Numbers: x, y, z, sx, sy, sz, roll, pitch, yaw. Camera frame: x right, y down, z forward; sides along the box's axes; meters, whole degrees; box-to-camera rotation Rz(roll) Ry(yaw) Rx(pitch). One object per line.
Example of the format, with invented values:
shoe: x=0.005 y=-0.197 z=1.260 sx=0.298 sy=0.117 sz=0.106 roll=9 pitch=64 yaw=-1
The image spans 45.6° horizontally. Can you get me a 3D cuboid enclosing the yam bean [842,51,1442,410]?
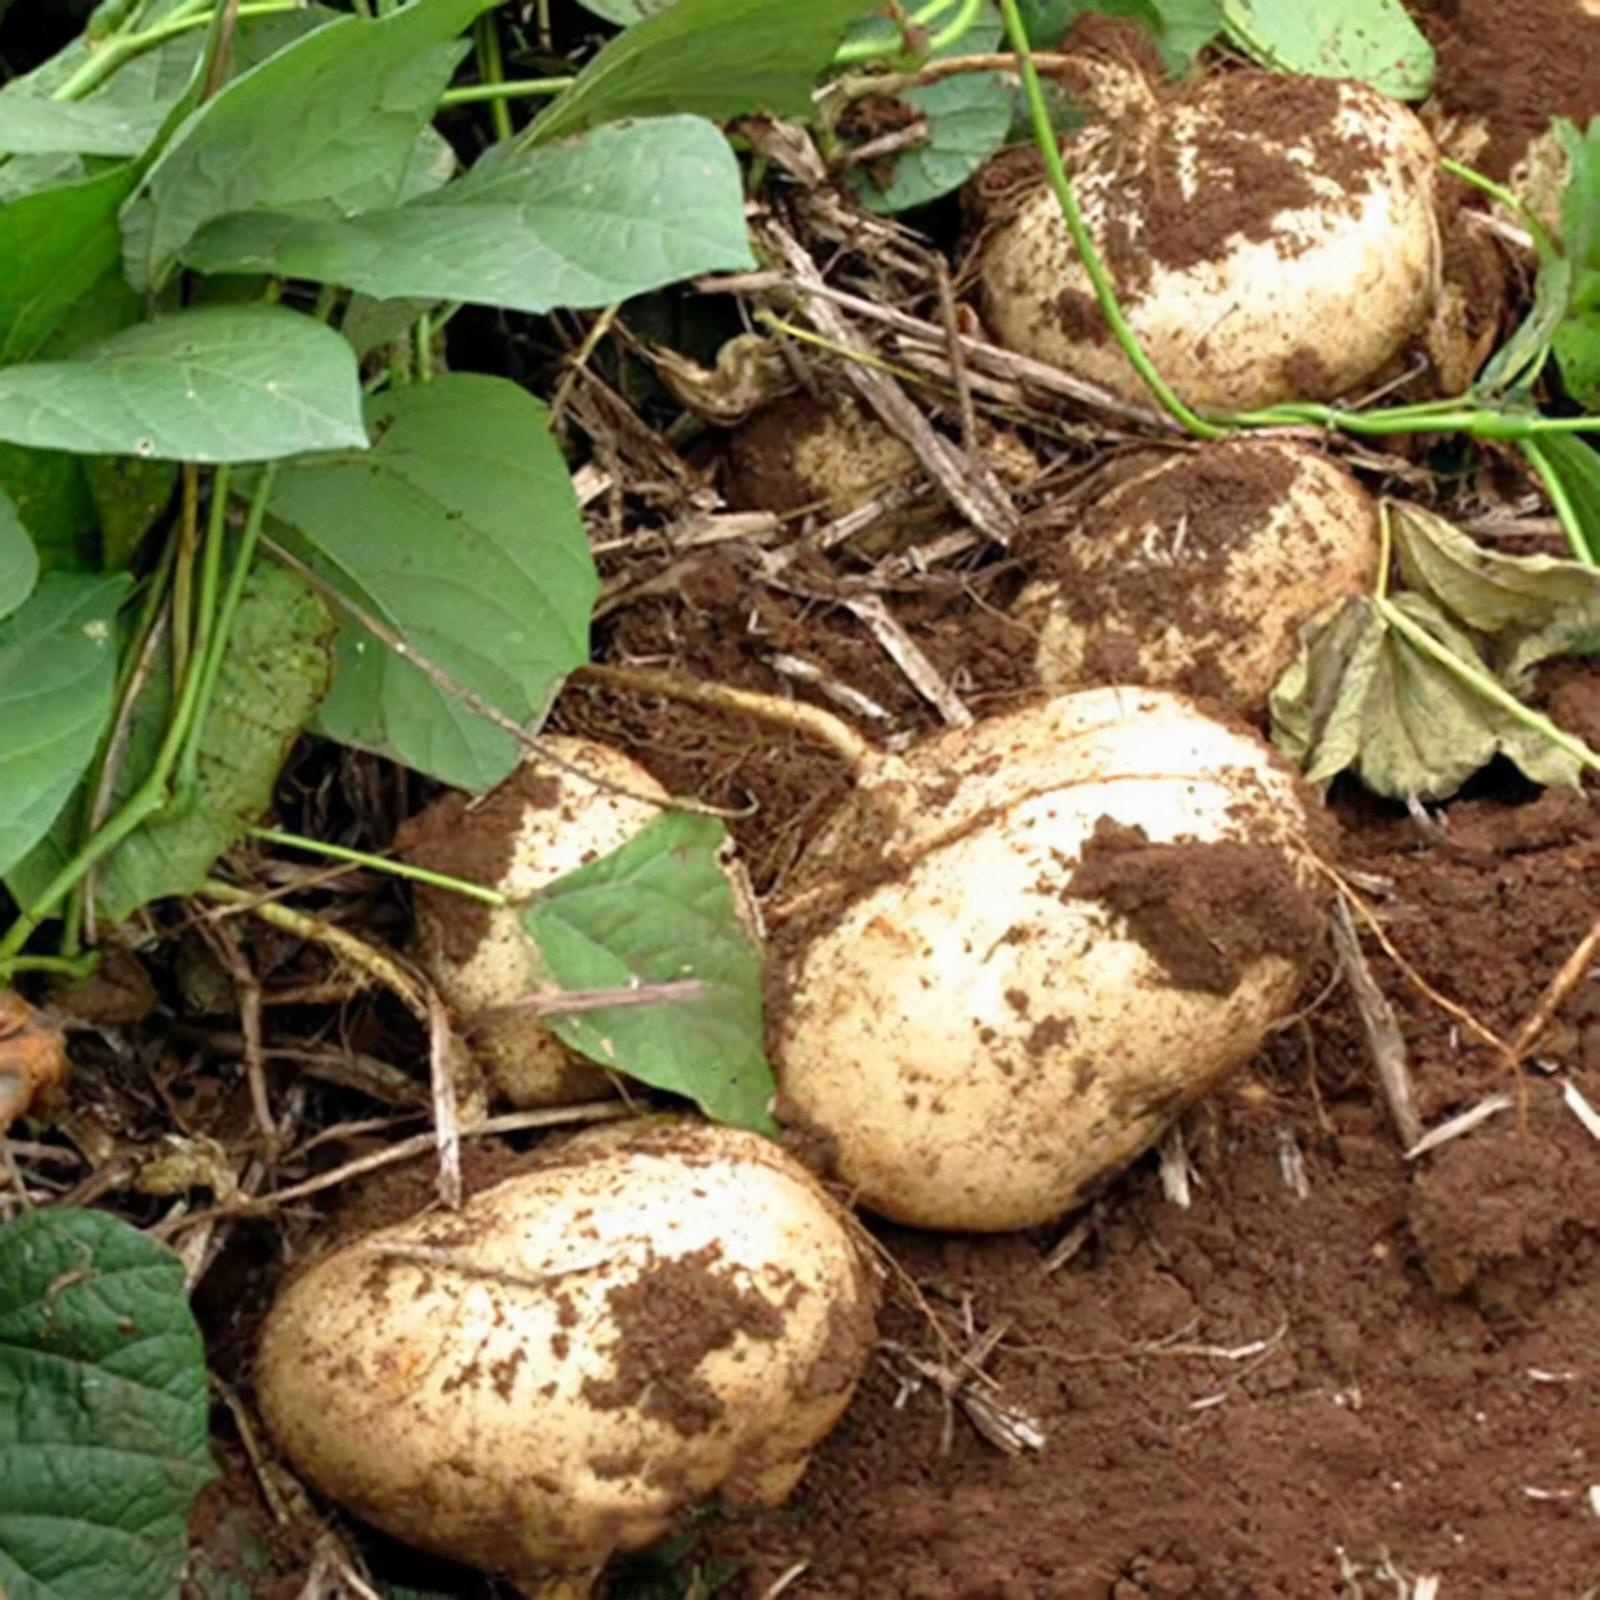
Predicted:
yam bean: x=0.192 y=-0.290 z=0.948 sx=0.255 sy=0.135 sz=0.176 roll=14 pitch=52 yaw=15

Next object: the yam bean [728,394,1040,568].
yam bean: x=0.041 y=-0.182 z=1.008 sx=0.152 sy=0.082 sz=0.033 roll=1 pitch=35 yaw=-48

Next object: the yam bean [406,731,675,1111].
yam bean: x=-0.113 y=0.061 z=0.926 sx=0.167 sy=0.092 sz=0.148 roll=-11 pitch=89 yaw=8

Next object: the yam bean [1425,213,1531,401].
yam bean: x=0.348 y=-0.255 z=0.983 sx=0.030 sy=0.086 sz=0.078 roll=11 pitch=27 yaw=28
